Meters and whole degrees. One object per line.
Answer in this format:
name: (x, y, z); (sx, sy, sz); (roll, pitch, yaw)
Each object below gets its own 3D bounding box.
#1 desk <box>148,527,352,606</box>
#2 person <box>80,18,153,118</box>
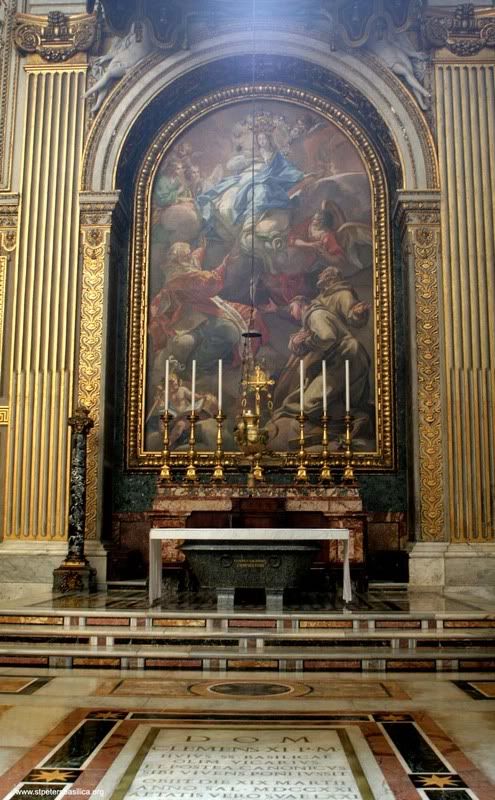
desk: (0.009, 1.216, 6.596); (1.491, 0.510, 0.447); (-1, -8, 9)
person: (-1.346, -3.447, 9.353); (0.560, 0.970, 0.269); (32, 10, 11)
